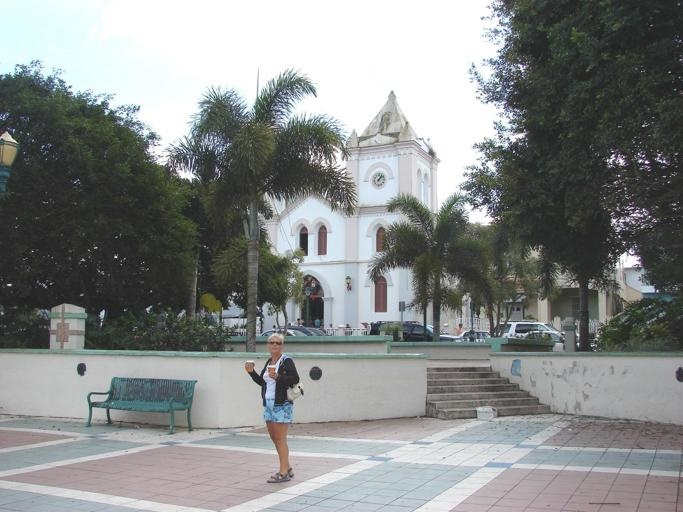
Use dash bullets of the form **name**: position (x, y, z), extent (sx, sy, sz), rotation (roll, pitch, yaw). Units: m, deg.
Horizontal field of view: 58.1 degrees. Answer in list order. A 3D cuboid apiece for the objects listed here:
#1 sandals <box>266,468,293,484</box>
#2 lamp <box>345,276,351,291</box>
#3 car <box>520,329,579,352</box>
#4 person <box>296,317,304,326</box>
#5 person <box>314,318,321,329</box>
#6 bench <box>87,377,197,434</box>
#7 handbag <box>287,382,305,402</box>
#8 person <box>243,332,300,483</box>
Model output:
- **sandals**: position (-0.959, 3.390, 9.490), extent (0.415, 0.180, 0.160), rotation (2, -7, -14)
- **lamp**: position (0.501, 2.129, 46.764), extent (0.419, 1.162, 0.230), rotation (-1, 0, -2)
- **car**: position (8.259, 3.404, 24.615), extent (2.152, 1.183, 1.463), rotation (-5, 0, 8)
- **person**: position (-3.106, 4.748, 44.415), extent (0.250, 0.277, 0.782), rotation (12, -4, 26)
- **person**: position (-1.974, 5.148, 47.214), extent (0.496, 1.026, 0.527), rotation (-4, -9, 24)
- **bench**: position (-4.467, 3.289, 13.530), extent (2.182, 1.061, 0.916), rotation (-2, -8, 18)
- **handbag**: position (-0.707, 2.083, 9.473), extent (0.181, 0.288, 0.238), rotation (-1, 0, 30)
- **person**: position (-1.051, 2.355, 9.605), extent (0.734, 2.298, 0.593), rotation (-1, 0, -10)
